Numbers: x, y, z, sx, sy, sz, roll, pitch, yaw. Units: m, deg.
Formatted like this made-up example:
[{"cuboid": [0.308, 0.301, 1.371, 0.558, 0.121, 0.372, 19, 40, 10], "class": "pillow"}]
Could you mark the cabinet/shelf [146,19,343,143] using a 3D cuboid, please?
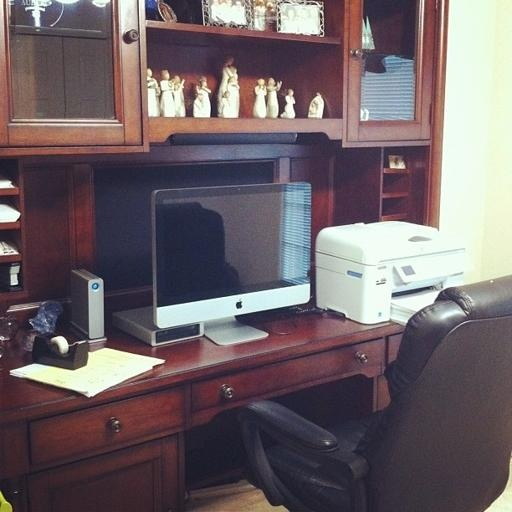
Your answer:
[{"cuboid": [-0.076, -0.650, 1.931, 0.803, 0.450, 0.331, -9, 12, -29], "class": "cabinet/shelf"}]

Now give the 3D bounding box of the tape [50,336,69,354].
[{"cuboid": [-0.571, 0.255, 1.479, 0.015, 0.042, 0.036, -32, -18, -35], "class": "tape"}]

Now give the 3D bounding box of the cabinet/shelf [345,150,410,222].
[{"cuboid": [0.573, -0.327, 2.361, 0.294, 0.332, 0.199, -12, 14, -41], "class": "cabinet/shelf"}]

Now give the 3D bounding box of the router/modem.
[{"cuboid": [-0.373, 0.235, 1.748, 0.144, 0.042, 0.206, -5, 10, -38], "class": "router/modem"}]

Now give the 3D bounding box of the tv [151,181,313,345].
[{"cuboid": [-0.088, 0.025, 1.721, 0.489, 0.431, 0.134, -7, 10, -38], "class": "tv"}]

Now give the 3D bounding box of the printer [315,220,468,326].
[{"cuboid": [0.490, 0.038, 1.974, 0.503, 0.285, 0.389, -13, 20, -41], "class": "printer"}]
